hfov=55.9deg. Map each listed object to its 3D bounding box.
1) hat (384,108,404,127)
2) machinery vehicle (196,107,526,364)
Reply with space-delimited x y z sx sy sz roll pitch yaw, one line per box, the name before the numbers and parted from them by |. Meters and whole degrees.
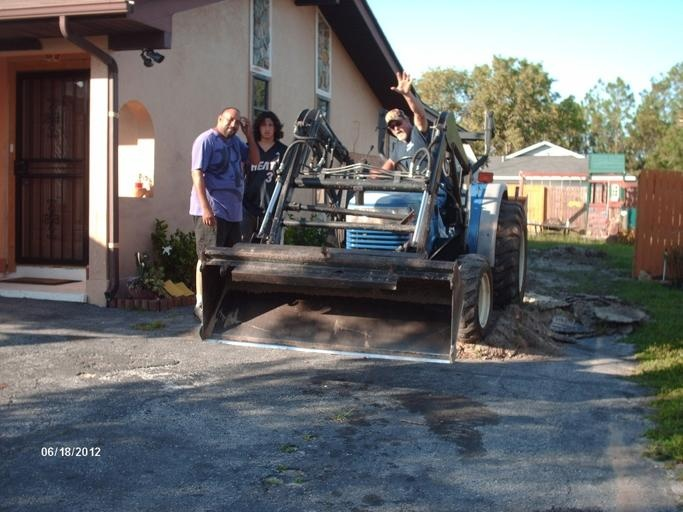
hat | 0.624 -1.679 7.654 0.217 0.192 0.353 -21 -2 16
machinery vehicle | 0.632 -0.543 7.532 2.663 2.784 4.450 0 5 22
